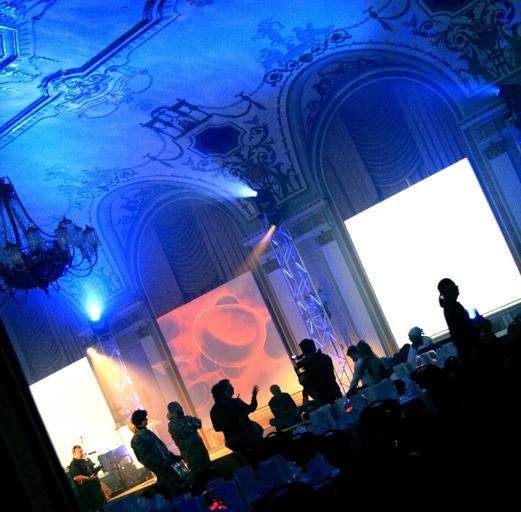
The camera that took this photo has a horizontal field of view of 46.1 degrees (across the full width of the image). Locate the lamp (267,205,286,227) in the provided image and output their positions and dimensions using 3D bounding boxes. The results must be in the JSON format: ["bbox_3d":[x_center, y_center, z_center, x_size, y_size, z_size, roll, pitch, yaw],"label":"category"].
[{"bbox_3d":[0.299,-0.730,11.465,0.283,0.362,0.207,7,1,37],"label":"lamp"}]

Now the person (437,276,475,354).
[{"bbox_3d":[1.762,0.522,5.595,0.259,0.735,0.468,-28,-9,14],"label":"person"}]
